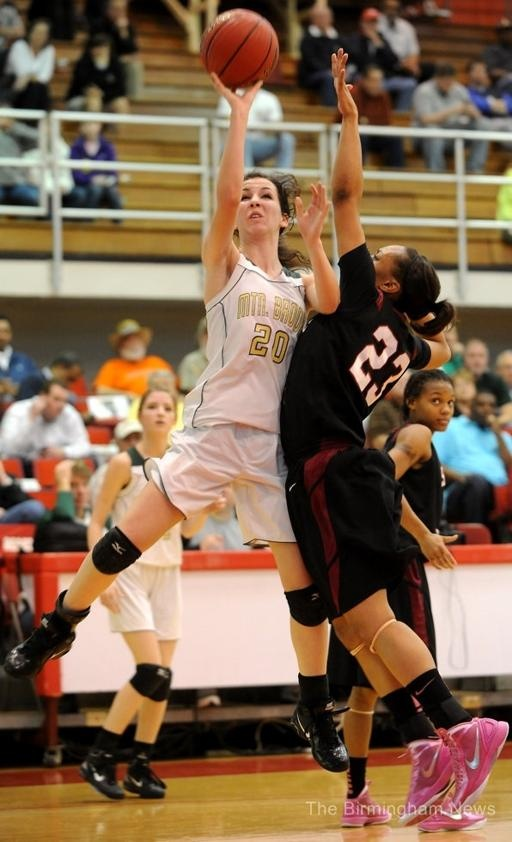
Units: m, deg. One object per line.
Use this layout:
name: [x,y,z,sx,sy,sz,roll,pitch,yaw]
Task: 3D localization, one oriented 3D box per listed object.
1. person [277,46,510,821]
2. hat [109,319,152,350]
person: [0.369,0.012,2.850,0.598,2.209,0.700,-1,5,1]
hat: [-0.937,-0.660,7.249,0.233,0.231,0.069,-34,41,-8]
